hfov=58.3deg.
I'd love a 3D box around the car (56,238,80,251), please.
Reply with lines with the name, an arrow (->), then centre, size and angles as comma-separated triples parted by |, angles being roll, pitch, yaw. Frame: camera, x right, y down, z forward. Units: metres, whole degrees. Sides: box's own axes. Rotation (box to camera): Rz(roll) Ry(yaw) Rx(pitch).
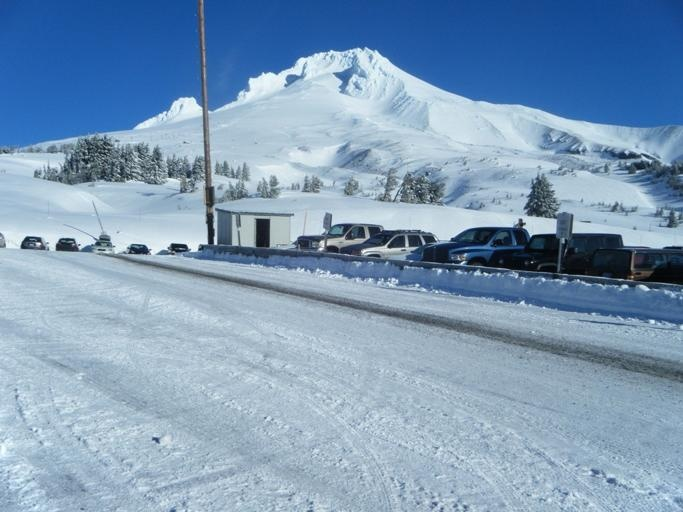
car -> -17.050, -0.655, 38.005 | 0.983, 0.653, 1.537 | -1, 8, -20

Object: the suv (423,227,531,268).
suv -> 4.405, -0.303, 20.273 | 3.115, 1.178, 1.551 | 2, -3, -29

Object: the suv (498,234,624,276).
suv -> 6.756, -0.083, 18.680 | 2.835, 1.073, 1.619 | 2, -2, -17

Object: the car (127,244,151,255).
car -> -13.015, -0.413, 39.666 | 1.390, 0.813, 2.056 | 2, -5, -35

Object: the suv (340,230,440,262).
suv -> 1.767, -0.406, 22.444 | 2.824, 1.017, 1.438 | 2, -2, -27

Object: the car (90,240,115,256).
car -> -14.647, -0.478, 37.404 | 1.596, 0.931, 2.172 | 1, -5, -29

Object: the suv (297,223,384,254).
suv -> 0.115, -0.833, 26.838 | 2.959, 1.054, 1.651 | 1, -1, -31

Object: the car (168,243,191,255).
car -> -10.985, -0.436, 41.096 | 1.239, 0.855, 1.937 | 2, -6, -40
